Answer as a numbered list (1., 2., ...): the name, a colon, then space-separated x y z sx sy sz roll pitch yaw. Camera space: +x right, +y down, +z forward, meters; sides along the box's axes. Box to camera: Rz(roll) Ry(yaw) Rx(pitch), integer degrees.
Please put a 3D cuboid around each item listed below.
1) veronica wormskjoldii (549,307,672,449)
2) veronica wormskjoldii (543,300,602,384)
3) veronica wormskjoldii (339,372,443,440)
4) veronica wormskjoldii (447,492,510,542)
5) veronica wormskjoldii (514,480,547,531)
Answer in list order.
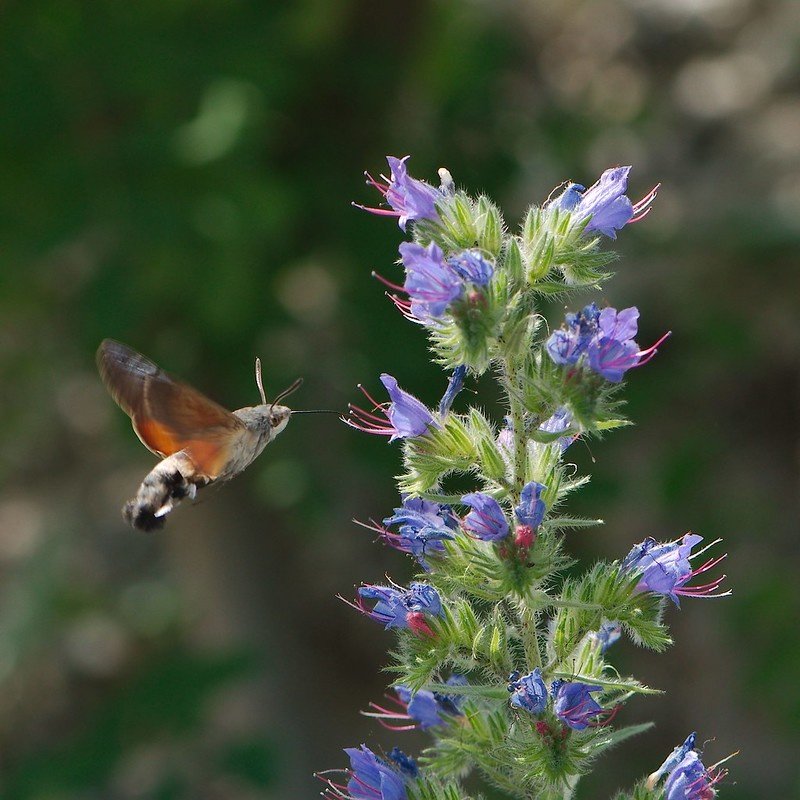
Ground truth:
1. veronica wormskjoldii: 0.850 -0.210 5.232 0.397 0.379 0.318 19 64 25
2. veronica wormskjoldii: 0.708 -0.255 5.169 0.225 0.193 0.254 -2 86 0
3. veronica wormskjoldii: 0.030 0.072 5.573 0.373 0.287 0.406 -1 91 -28
4. veronica wormskjoldii: 0.342 0.474 5.143 0.174 0.223 0.156 -20 55 1
5. veronica wormskjoldii: 0.538 0.425 5.153 0.111 0.056 0.190 6 95 5
